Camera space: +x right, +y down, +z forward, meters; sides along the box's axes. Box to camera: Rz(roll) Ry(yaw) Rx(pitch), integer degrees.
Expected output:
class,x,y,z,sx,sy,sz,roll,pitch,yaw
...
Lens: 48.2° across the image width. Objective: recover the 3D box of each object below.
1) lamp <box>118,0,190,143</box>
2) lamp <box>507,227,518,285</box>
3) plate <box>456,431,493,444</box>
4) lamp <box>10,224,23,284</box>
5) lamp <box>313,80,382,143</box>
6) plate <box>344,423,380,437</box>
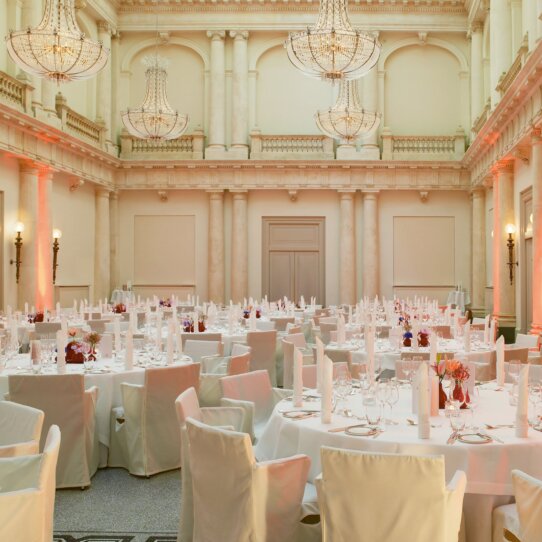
class,x,y,z,sx,sy,sz,roll,pitch,yaw
lamp,-2.543,-3.848,13.455,1.357,1.634,1.049,0,-4,-12
lamp,5.347,-0.377,13.459,0.186,1.335,0.215,-1,-3,12
plate,1.147,0.941,3.416,0.190,0.037,0.227,-4,-7,24
lamp,-5.462,-0.405,13.063,0.238,1.306,0.391,1,-3,-23
lamp,1.506,-3.281,11.812,1.143,1.367,1.136,-3,-5,27
plate,0.547,0.935,3.569,0.210,0.037,0.274,-4,-7,20
